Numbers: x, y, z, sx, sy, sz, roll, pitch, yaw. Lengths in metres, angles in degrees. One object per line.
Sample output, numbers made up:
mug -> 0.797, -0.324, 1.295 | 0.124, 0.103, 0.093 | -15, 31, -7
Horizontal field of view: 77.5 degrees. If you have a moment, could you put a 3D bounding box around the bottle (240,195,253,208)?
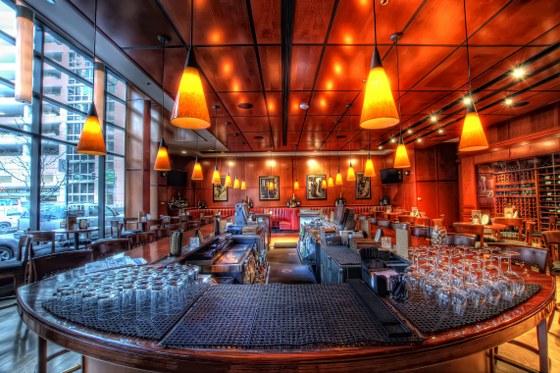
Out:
bottle -> -1.272, 0.580, 13.758 | 0.654, 0.355, 0.369 | 10, 13, 5

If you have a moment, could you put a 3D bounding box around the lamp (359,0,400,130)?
lamp -> 1.438, -1.908, 5.198 | 0.513, 2.207, 1.033 | -3, -5, 17

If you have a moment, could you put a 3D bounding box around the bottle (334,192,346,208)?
bottle -> 2.294, 0.498, 13.482 | 0.360, 0.906, 0.357 | 4, -19, 1

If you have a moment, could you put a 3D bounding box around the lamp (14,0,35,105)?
lamp -> -5.304, -2.783, 7.272 | 0.315, 1.864, 0.707 | 2, -6, -37

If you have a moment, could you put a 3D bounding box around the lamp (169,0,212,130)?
lamp -> -1.302, -1.903, 5.103 | 0.507, 2.239, 0.987 | -1, -5, -13

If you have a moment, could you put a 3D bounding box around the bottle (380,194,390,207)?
bottle -> 4.696, 0.598, 15.562 | 0.402, 0.505, 0.368 | -2, -5, 0

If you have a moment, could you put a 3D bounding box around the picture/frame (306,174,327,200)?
picture/frame -> 1.609, 0.058, 15.527 | 1.178, 1.335, 0.144 | 0, -4, -3
